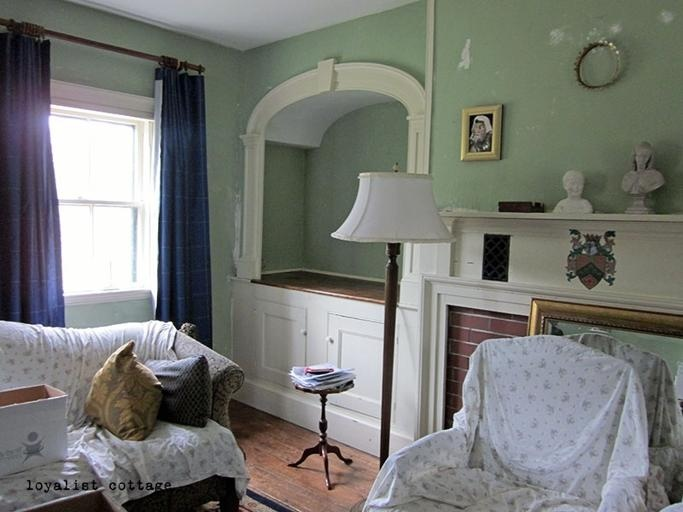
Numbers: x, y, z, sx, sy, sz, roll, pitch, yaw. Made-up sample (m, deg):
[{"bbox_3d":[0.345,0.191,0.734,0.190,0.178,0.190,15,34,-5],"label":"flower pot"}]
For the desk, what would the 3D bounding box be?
[{"bbox_3d":[-0.112,1.133,3.476,0.400,0.564,0.387,3,-5,-23],"label":"desk"}]

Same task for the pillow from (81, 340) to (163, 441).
[{"bbox_3d":[-1.230,0.796,2.936,0.424,0.429,0.249,-36,-34,24],"label":"pillow"}]

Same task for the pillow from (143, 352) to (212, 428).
[{"bbox_3d":[-0.925,0.802,3.229,0.210,0.378,0.656,2,-10,-26],"label":"pillow"}]

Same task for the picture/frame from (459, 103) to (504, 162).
[{"bbox_3d":[0.849,-0.744,3.129,0.334,0.434,0.045,4,4,40],"label":"picture/frame"}]
